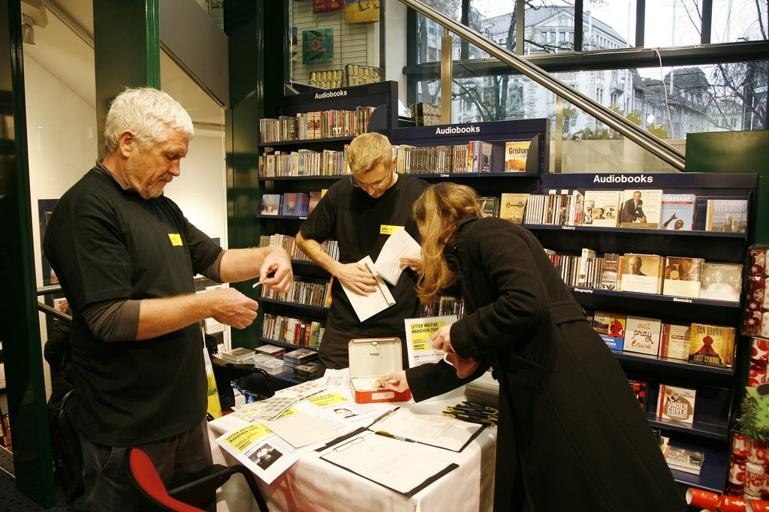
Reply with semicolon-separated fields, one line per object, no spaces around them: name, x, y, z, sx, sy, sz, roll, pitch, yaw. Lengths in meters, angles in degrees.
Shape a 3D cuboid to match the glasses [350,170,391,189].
glasses;-0.057;-0.573;4.291;0.348;0.122;0.190;-4;7;-21
